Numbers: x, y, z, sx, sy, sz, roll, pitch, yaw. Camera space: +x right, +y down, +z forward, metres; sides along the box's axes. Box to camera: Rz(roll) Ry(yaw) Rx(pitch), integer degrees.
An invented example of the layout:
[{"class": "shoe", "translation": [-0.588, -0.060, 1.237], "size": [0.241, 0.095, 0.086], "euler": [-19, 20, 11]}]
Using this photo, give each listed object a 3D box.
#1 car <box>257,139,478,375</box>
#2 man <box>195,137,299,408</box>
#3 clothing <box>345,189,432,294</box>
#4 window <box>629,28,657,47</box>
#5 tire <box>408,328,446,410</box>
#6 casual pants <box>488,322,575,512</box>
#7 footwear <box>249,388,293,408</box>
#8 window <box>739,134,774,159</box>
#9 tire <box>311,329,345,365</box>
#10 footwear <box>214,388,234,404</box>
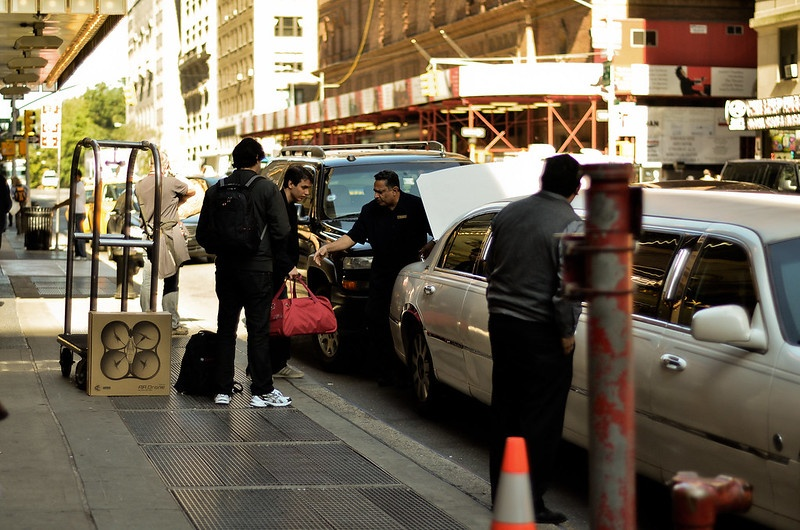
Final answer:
[{"class": "car", "translation": [-0.462, -0.563, 10.715], "size": [2.079, 2.161, 3.812], "euler": [-2, 2, -20]}, {"class": "man", "translation": [-1.532, 0.098, 7.417], "size": [0.887, 2.699, 0.537], "euler": [-2, 7, -8]}, {"class": "clothing", "translation": [-0.076, -0.324, 8.692], "size": [1.182, 1.089, 0.399], "euler": [-4, 17, -3]}, {"class": "window", "translation": [12.738, -12.047, 39.693], "size": [1.091, 0.679, 0.083], "euler": [-1, 5, -7]}, {"class": "tire", "translation": [0.325, 1.035, 7.696], "size": [0.285, 0.917, 0.919], "euler": [0, -11, -13]}, {"class": "casual pants", "translation": [0.714, 0.950, 5.101], "size": [0.358, 1.242, 0.446], "euler": [3, -26, -47]}, {"class": "footwear", "translation": [-1.302, 1.324, 7.569], "size": [0.414, 0.193, 0.165], "euler": [-1, 0, -12]}, {"class": "window", "translation": [17.273, -5.872, 36.608], "size": [1.124, 1.191, 7.678], "euler": [1, 7, 22]}, {"class": "tire", "translation": [-0.887, 1.010, 9.373], "size": [0.198, 0.610, 0.611], "euler": [2, -2, -38]}, {"class": "footwear", "translation": [-1.790, 1.322, 7.603], "size": [0.164, 0.094, 0.268], "euler": [1, 0, -4]}]
